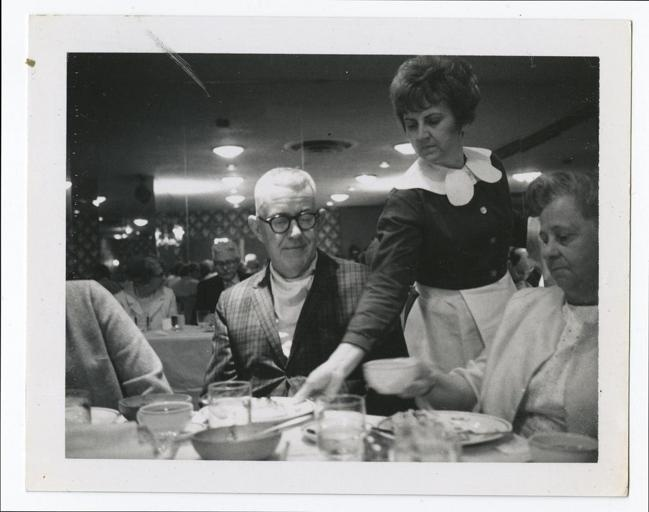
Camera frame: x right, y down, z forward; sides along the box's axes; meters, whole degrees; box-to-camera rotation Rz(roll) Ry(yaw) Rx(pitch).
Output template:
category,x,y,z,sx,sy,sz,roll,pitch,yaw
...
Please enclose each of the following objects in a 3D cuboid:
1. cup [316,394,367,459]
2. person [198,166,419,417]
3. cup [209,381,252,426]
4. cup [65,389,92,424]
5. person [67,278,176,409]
category,x,y,z,sx,sy,sz,roll,pitch,yaw
cup,0.140,0.804,4.149,0.302,0.323,0.310,-5,-12,-1
person,-0.160,0.309,4.077,0.973,1.280,0.656,-6,-9,6
cup,-0.407,0.642,4.032,0.190,0.213,0.190,0,-6,0
cup,-1.091,0.669,4.088,0.107,0.146,0.048,-3,2,8
person,-0.979,0.459,4.250,0.246,0.647,0.788,-9,0,-37
